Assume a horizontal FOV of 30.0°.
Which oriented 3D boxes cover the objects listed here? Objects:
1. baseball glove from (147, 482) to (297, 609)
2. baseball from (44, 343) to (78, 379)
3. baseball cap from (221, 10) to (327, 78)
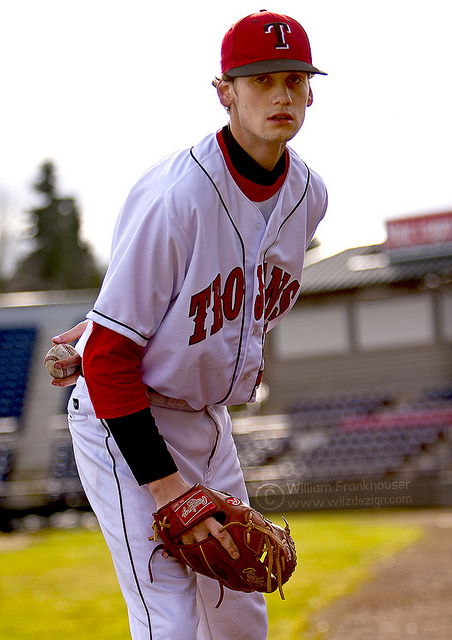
[{"bbox_3d":[-0.009,0.518,2.005,0.346,0.134,0.332,-20,35,-40],"label":"baseball glove"},{"bbox_3d":[-0.450,0.108,2.219,0.056,0.082,0.090,13,-14,-43],"label":"baseball"},{"bbox_3d":[0.108,-0.675,2.053,0.222,0.157,0.288,-6,22,-18],"label":"baseball cap"}]
